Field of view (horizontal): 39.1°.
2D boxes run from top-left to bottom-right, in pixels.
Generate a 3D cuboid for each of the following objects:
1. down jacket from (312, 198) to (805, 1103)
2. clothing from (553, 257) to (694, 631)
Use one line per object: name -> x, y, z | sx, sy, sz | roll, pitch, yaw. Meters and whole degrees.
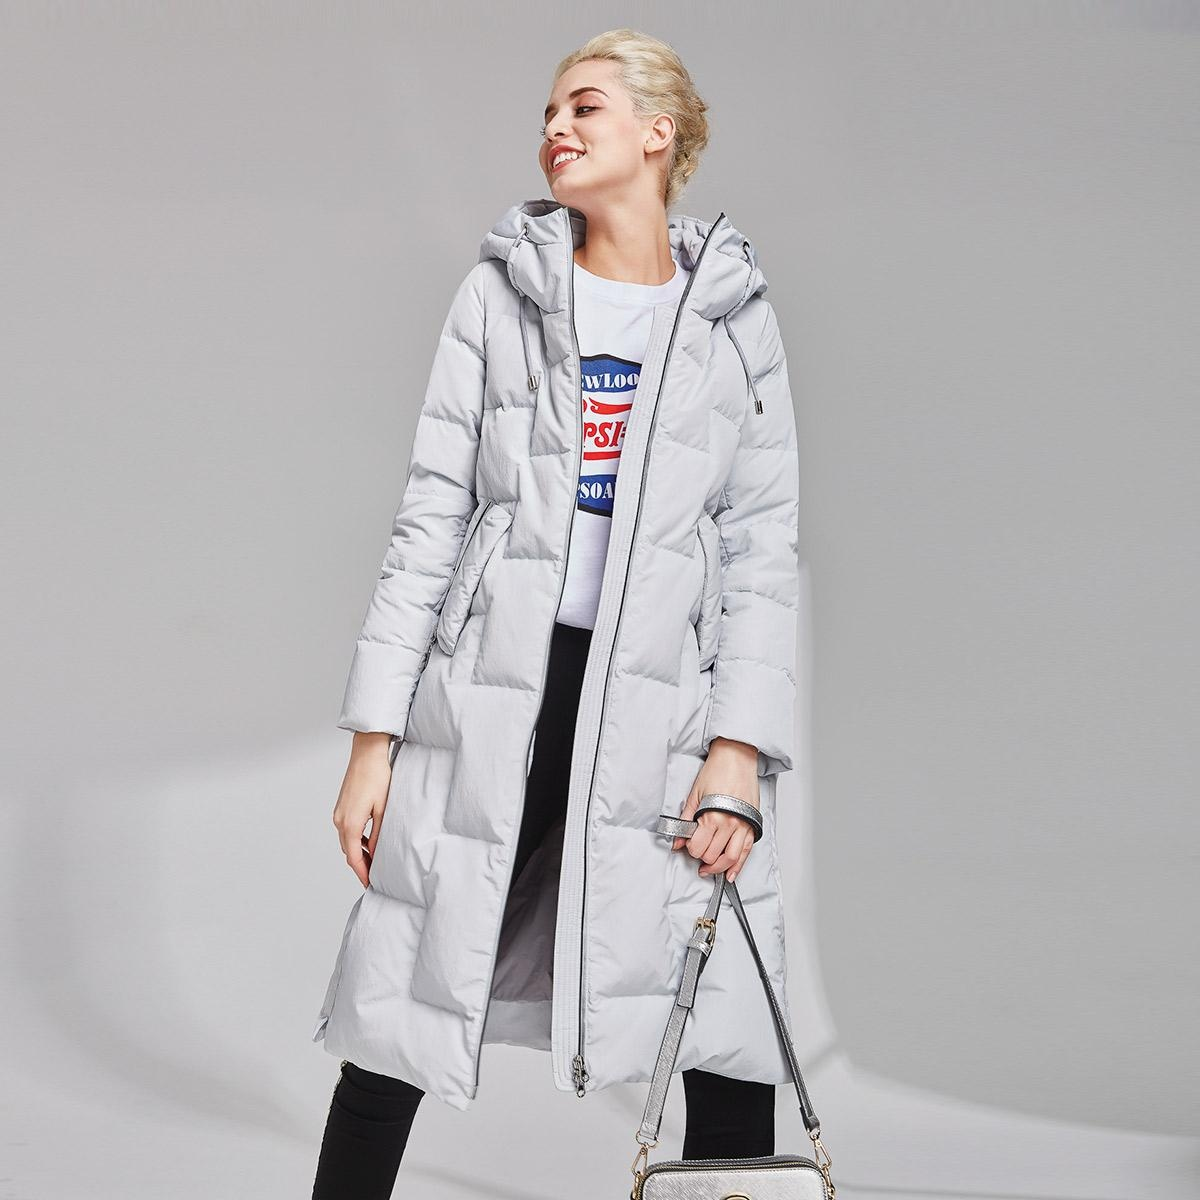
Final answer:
down jacket -> -0.018, 0.046, 2.403 | 0.655, 1.302, 0.621 | 5, -29, 6
clothing -> 0.005, -0.237, 2.386 | 0.170, 0.540, 0.054 | 9, -8, -3
